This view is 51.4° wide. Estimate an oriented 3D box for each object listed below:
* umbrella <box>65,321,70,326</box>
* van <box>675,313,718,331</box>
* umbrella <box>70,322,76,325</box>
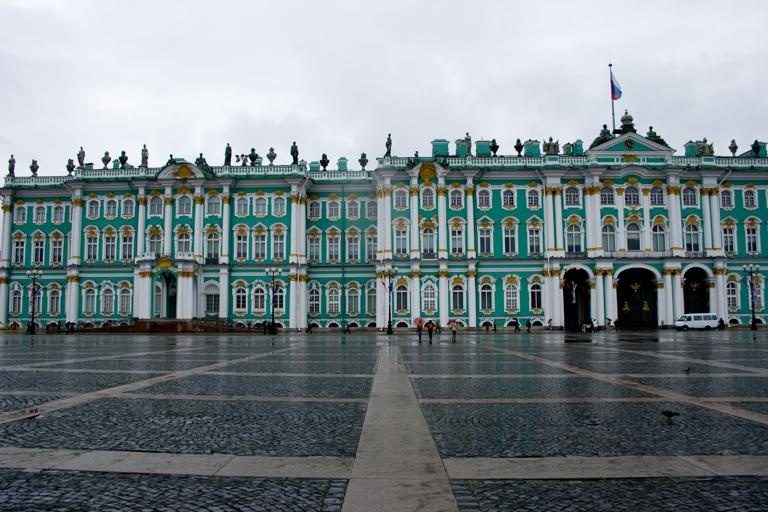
[{"bbox_3d":[-28.743,6.003,72.121,0.366,0.456,0.676,-6,1,-25],"label":"umbrella"},{"bbox_3d":[27.273,5.653,69.656,3.824,1.190,1.976,-1,0,8],"label":"van"},{"bbox_3d":[-28.571,6.037,72.895,0.566,0.188,0.539,-2,-3,23],"label":"umbrella"}]
